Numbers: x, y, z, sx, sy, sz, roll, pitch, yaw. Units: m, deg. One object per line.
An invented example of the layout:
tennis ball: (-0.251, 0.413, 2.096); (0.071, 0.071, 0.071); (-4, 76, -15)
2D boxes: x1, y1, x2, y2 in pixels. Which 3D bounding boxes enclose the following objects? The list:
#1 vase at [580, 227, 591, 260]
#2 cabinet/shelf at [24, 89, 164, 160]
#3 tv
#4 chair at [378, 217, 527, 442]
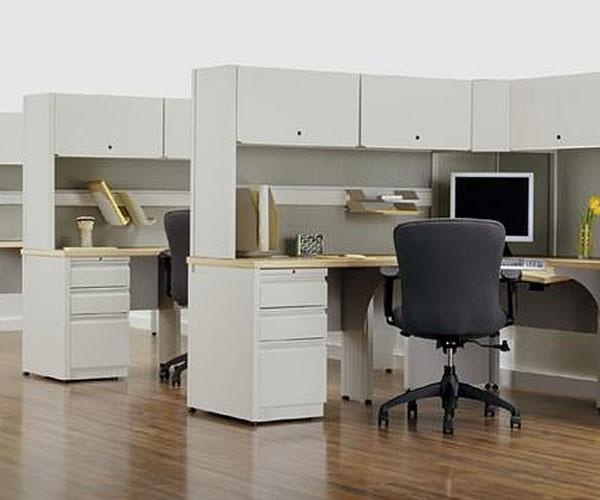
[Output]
vase: (1.946, -0.063, 4.604); (0.069, 0.220, 0.063); (1, 1, 21)
cabinet/shelf: (-1.577, -0.922, 5.726); (0.949, 0.551, 0.764); (0, -14, -22)
tv: (1.228, -0.252, 4.345); (0.490, 0.566, 0.171); (0, -5, 0)
chair: (0.837, 0.435, 4.137); (1.022, 1.662, 1.075); (0, -3, 4)
